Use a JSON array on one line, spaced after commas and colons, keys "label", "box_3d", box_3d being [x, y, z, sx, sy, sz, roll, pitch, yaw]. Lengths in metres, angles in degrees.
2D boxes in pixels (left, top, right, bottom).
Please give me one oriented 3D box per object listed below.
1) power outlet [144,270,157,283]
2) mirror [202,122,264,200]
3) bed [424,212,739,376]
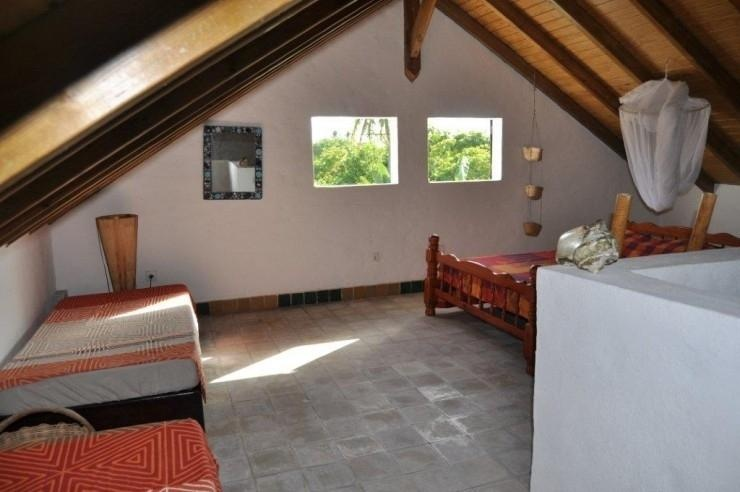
[{"label": "power outlet", "box_3d": [-2.418, 0.328, 5.620, 0.124, 0.245, 0.047, -1, 12, -31]}, {"label": "mirror", "box_3d": [-1.573, -0.984, 5.739, 0.804, 1.054, 0.048, -1, 8, -14]}, {"label": "bed", "box_3d": [2.175, 0.355, 5.349, 2.833, 0.965, 2.050, -6, 14, -21]}]
